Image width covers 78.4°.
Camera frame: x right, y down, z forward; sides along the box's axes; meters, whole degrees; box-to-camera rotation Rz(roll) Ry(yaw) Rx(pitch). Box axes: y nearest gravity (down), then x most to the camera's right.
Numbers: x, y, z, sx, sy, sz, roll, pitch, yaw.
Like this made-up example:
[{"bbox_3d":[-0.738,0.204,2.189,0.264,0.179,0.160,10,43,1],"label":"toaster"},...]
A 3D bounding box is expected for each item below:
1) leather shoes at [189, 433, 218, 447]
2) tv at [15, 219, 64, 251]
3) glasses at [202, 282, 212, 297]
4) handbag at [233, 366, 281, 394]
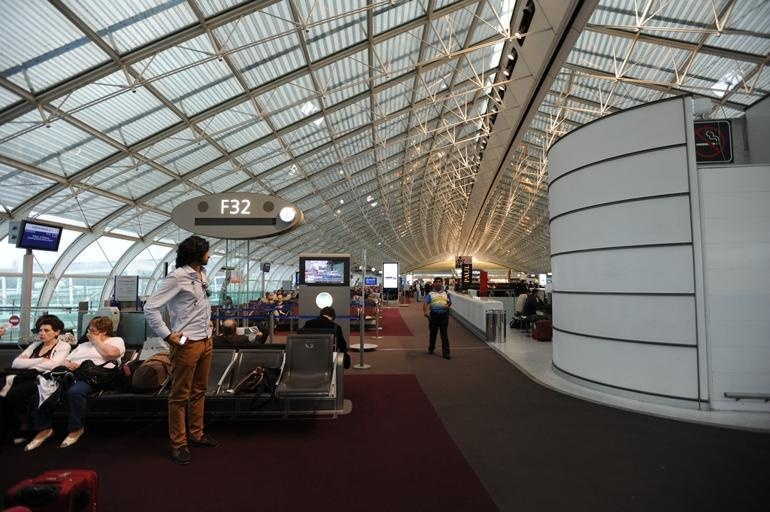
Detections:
[{"bbox_3d":[-2.656,2.409,6.167,0.446,0.157,0.157,2,-7,-4],"label":"leather shoes"},{"bbox_3d":[-10.689,-0.535,12.614,0.154,0.811,1.303,6,1,26],"label":"tv"},{"bbox_3d":[-2.612,0.444,6.134,0.112,0.166,0.055,-10,26,25],"label":"glasses"},{"bbox_3d":[-2.045,1.779,6.860,0.568,0.188,0.409,-7,-10,4],"label":"handbag"}]
